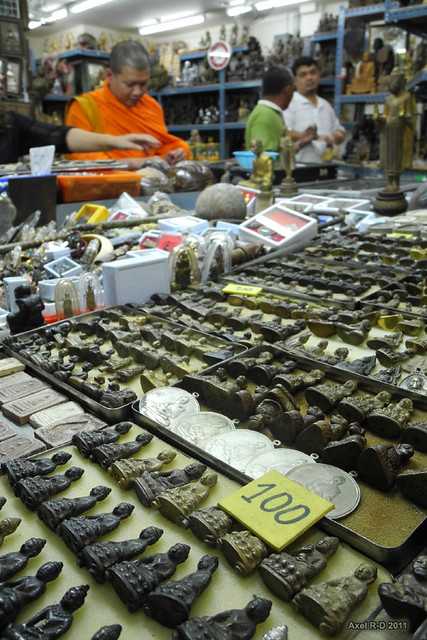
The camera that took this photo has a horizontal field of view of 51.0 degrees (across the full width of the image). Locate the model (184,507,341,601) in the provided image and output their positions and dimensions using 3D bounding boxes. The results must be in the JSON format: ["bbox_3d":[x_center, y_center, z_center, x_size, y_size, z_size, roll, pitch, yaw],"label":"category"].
[{"bbox_3d":[0.129,0.468,0.915,0.141,0.058,0.181,-18,25,-37],"label":"model"}]

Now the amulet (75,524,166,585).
[{"bbox_3d":[-0.181,0.489,0.956,0.175,0.089,0.097,-13,8,-35],"label":"amulet"}]

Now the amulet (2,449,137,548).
[{"bbox_3d":[-0.427,0.452,1.148,0.170,0.058,0.185,-13,23,-37],"label":"amulet"}]

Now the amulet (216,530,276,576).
[{"bbox_3d":[0.058,0.470,0.921,0.057,0.041,0.098,16,8,42],"label":"amulet"}]

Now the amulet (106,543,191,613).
[{"bbox_3d":[-0.114,0.498,0.905,0.103,0.071,0.174,1,10,44],"label":"amulet"}]

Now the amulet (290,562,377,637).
[{"bbox_3d":[0.234,0.508,0.826,0.117,0.043,0.070,-6,6,-41],"label":"amulet"}]

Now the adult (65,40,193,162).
[{"bbox_3d":[-1.168,-2.864,6.136,1.823,1.570,1.102,-17,35,-37],"label":"adult"}]

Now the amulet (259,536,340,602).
[{"bbox_3d":[0.189,0.486,0.910,0.184,0.069,0.098,-13,5,-32],"label":"amulet"}]

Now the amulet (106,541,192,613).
[{"bbox_3d":[-0.112,0.498,0.901,0.174,0.072,0.105,-9,5,-39],"label":"amulet"}]

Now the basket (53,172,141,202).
[{"bbox_3d":[-1.031,-1.183,3.978,0.490,0.157,0.381,-9,23,-22],"label":"basket"}]

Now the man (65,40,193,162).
[{"bbox_3d":[-1.147,-2.883,6.160,1.076,1.603,1.859,27,35,36],"label":"man"}]
